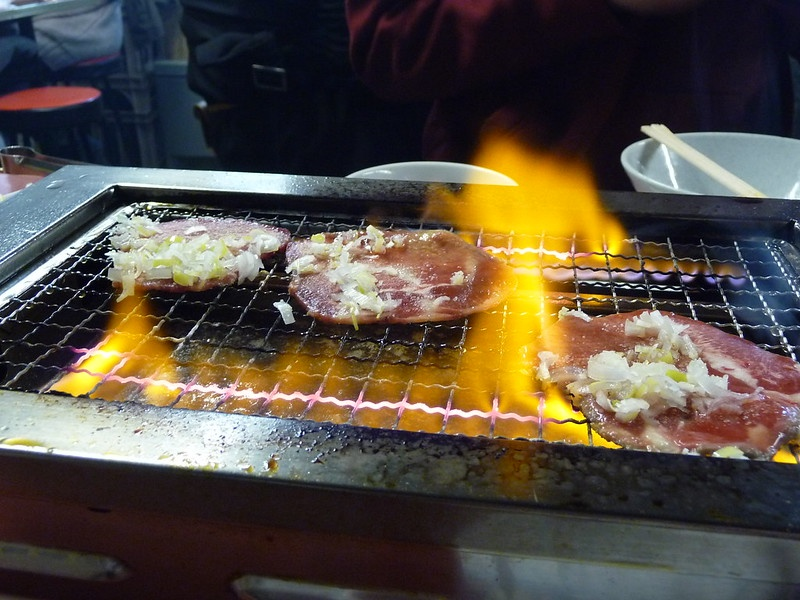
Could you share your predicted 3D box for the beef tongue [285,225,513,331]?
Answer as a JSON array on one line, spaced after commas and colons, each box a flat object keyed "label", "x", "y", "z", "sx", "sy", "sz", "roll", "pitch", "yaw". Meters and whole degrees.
[{"label": "beef tongue", "x": -0.024, "y": -0.069, "z": 1.808, "sx": 0.568, "sy": 0.051, "sz": 0.356, "roll": 6, "pitch": 33, "yaw": 10}]
